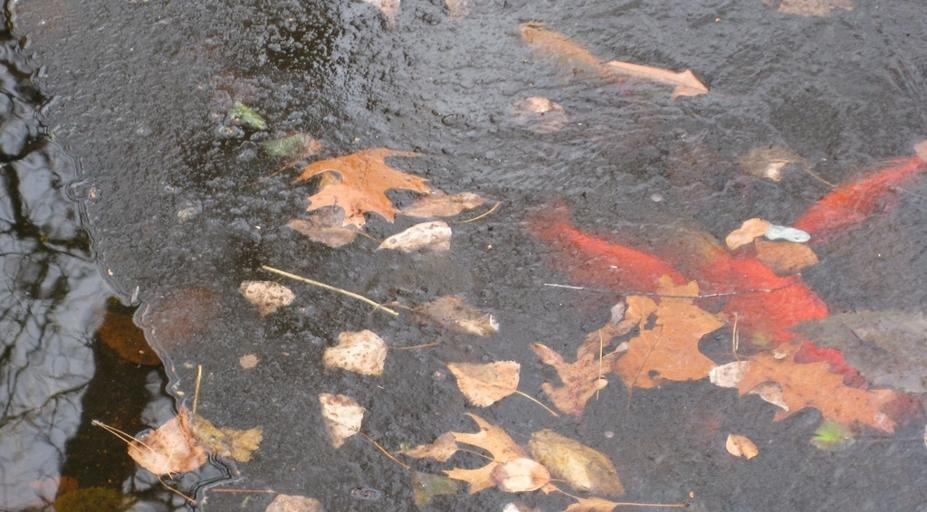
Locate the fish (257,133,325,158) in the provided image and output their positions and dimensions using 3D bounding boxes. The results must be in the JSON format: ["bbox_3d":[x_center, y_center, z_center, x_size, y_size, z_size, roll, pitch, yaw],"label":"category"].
[{"bbox_3d":[-1.375,-0.874,8.689,0.438,0.040,0.216,-15,67,-5],"label":"fish"}]

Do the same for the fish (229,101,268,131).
[{"bbox_3d":[-1.728,-1.112,8.785,0.292,0.120,0.160,32,55,0],"label":"fish"}]
